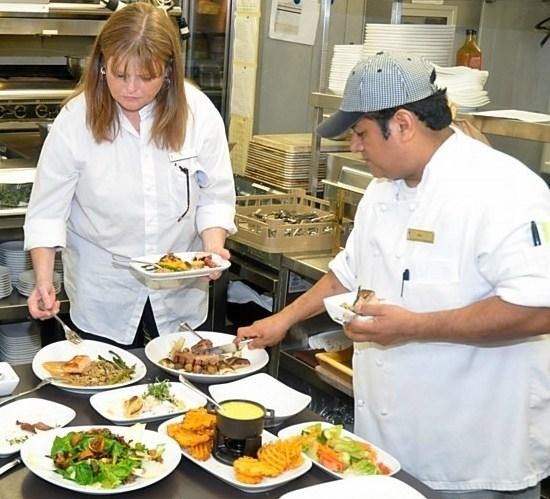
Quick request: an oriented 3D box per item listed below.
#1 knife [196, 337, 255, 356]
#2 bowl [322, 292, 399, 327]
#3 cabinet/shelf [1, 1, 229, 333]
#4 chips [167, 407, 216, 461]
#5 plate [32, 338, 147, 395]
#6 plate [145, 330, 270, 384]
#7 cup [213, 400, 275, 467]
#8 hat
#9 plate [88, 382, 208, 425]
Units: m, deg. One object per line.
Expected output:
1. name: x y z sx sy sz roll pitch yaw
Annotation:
1. knife: -0.150 0.301 1.503 0.262 0.039 0.027 -8 23 7
2. bowl: 0.185 0.139 1.194 0.105 0.045 0.123 -9 8 -37
3. cabinet/shelf: -0.540 -0.121 1.856 0.831 1.350 0.538 -1 19 -17
4. chips: -0.174 0.388 1.047 0.089 0.030 0.090 25 50 31
5. plate: -0.525 0.335 1.391 0.205 0.070 0.237 12 18 29
6. plate: -0.240 0.329 1.495 0.221 0.042 0.205 3 12 -2
7. cup: -0.071 0.372 1.047 0.138 0.099 0.116 8 10 6
8. hat: 0.244 -0.372 1.194 0.258 0.121 0.154 -12 22 8
9. plate: -0.314 0.380 1.199 0.210 0.047 0.222 -8 17 -44
